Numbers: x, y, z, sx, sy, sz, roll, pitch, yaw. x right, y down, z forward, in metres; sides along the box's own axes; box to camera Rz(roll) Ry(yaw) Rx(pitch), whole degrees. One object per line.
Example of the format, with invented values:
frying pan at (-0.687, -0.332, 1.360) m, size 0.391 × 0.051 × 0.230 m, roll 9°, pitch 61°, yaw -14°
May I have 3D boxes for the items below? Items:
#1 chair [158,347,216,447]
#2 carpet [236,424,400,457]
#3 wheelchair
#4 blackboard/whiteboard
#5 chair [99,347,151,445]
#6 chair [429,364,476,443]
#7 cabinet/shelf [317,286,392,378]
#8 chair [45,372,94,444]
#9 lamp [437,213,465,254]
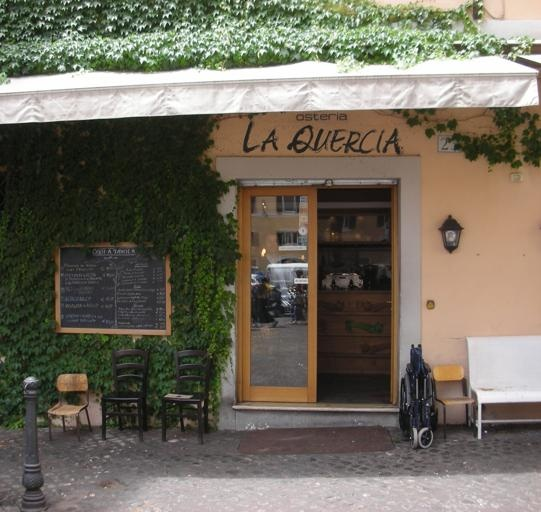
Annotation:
chair at (-1.037, 1.746, 8.604) m, size 0.442 × 1.109 × 0.604 m, roll -1°, pitch -5°, yaw 15°
carpet at (0.555, 2.210, 8.258) m, size 1.825 × 0.046 × 0.819 m, roll -1°, pitch 8°, yaw 2°
wheelchair at (1.753, 1.629, 8.082) m, size 0.444 × 1.136 × 0.558 m, roll 0°, pitch 7°, yaw 11°
blackboard/whiteboard at (-2.073, 0.435, 9.042) m, size 1.587 × 1.169 × 0.169 m, roll 0°, pitch 7°, yaw 10°
chair at (-1.801, 1.712, 8.692) m, size 0.533 × 1.096 × 0.519 m, roll 1°, pitch 5°, yaw 12°
chair at (2.305, 1.707, 8.607) m, size 0.569 × 1.154 × 0.751 m, roll -1°, pitch -4°, yaw -8°
cabinet/shelf at (1.411, 1.257, 11.619) m, size 1.060 × 1.370 × 0.935 m, roll 0°, pitch 5°, yaw 5°
chair at (-2.556, 1.866, 8.784) m, size 0.428 × 0.877 × 0.481 m, roll 2°, pitch 5°, yaw 44°
lamp at (2.327, -0.276, 8.781) m, size 0.321 × 0.478 × 0.137 m, roll -1°, pitch 7°, yaw 2°
